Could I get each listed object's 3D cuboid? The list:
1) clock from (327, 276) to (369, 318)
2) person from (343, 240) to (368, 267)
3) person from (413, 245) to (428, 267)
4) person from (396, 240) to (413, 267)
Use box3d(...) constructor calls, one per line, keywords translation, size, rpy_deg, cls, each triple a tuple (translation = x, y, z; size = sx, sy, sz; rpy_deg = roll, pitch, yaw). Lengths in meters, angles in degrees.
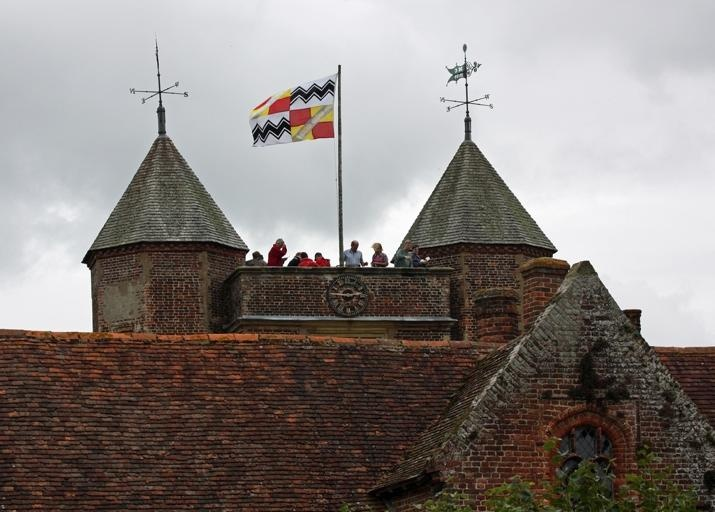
box3d(translation=(-0.393, 1.285, 63.420), size=(1.411, 1.333, 0.466), rpy_deg=(0, -19, -17), cls="clock")
box3d(translation=(-0.141, 0.027, 55.394), size=(0.733, 0.954, 0.580), rpy_deg=(1, -13, -8), cls="person")
box3d(translation=(2.070, 0.016, 66.376), size=(0.430, 1.132, 0.539), rpy_deg=(-5, 7, 7), cls="person")
box3d(translation=(1.515, -0.046, 65.123), size=(0.753, 0.767, 0.740), rpy_deg=(2, -5, -5), cls="person")
